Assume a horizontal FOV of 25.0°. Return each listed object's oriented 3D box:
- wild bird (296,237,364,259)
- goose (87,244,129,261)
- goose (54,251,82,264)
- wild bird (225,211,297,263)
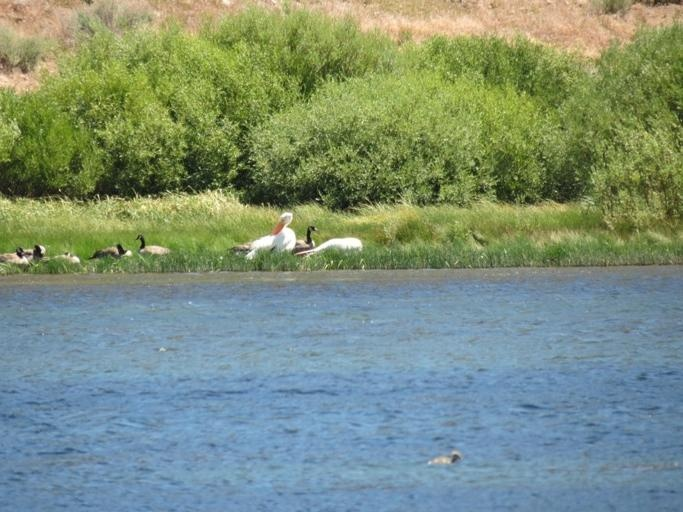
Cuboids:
[{"bbox_3d":[-0.282,-0.251,45.330,1.852,0.346,0.910,-5,12,-14],"label":"wild bird"},{"bbox_3d":[-6.974,-0.065,45.866,0.859,0.448,0.196,-5,51,-2],"label":"goose"},{"bbox_3d":[-7.917,0.096,44.706,0.733,0.317,0.592,-1,12,6],"label":"goose"},{"bbox_3d":[-2.268,-0.507,45.807,2.033,1.299,1.103,-12,22,-30],"label":"wild bird"}]
